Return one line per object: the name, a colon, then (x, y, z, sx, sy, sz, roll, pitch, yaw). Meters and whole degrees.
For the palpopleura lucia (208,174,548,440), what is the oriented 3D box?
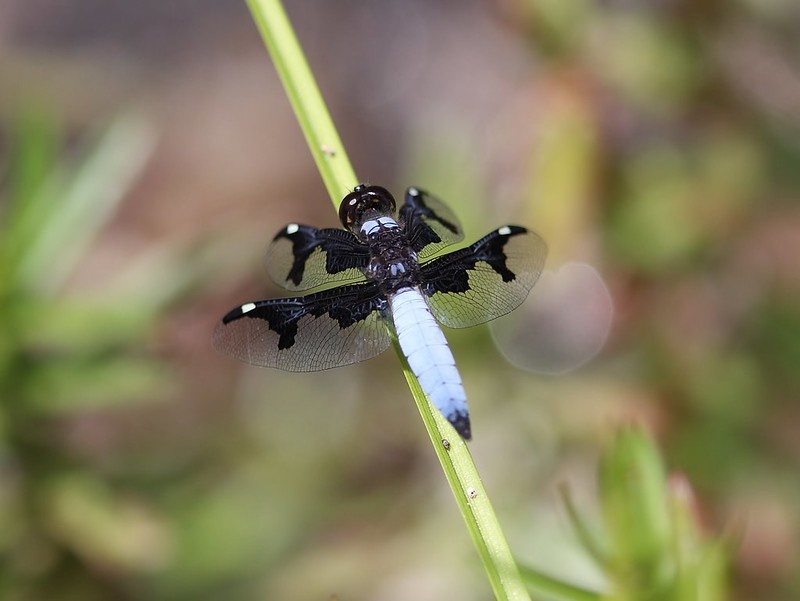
palpopleura lucia: (-0.021, -0.005, 1.146, 0.376, 0.091, 0.323, 23, 68, 4)
